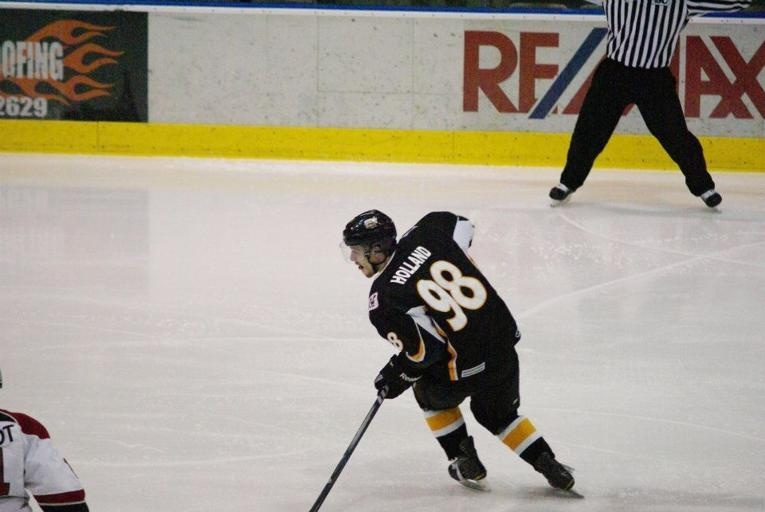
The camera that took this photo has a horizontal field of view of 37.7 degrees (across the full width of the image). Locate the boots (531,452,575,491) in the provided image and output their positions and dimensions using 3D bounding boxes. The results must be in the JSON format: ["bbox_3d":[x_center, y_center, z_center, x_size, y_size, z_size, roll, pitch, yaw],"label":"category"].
[{"bbox_3d":[0.858,1.047,5.456,0.232,0.186,0.111,-1,10,-20],"label":"boots"}]

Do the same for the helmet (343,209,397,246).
[{"bbox_3d":[-0.058,-0.129,5.522,0.223,0.176,0.171,5,-7,7],"label":"helmet"}]

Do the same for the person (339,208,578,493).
[{"bbox_3d":[0.342,0.532,5.589,0.897,1.584,0.716,-21,14,-8],"label":"person"}]
